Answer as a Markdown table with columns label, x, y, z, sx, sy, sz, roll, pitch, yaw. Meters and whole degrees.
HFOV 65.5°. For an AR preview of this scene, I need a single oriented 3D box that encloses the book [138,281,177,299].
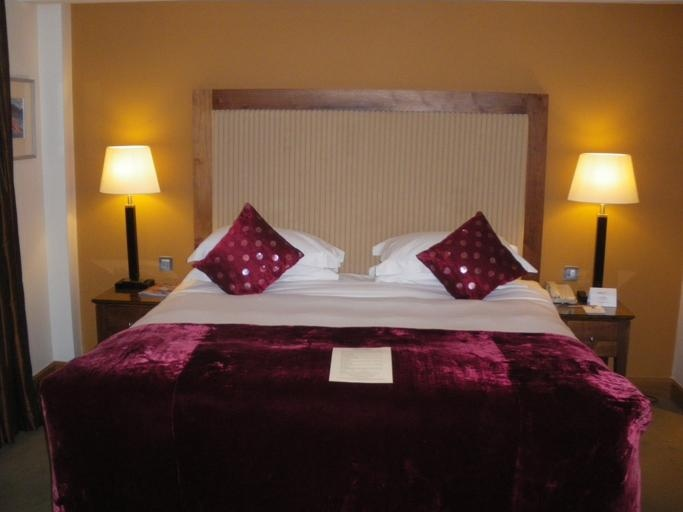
| label | x | y | z | sx | sy | sz | roll | pitch | yaw |
| --- | --- | --- | --- | --- | --- | --- | --- | --- | --- |
| book | -1.307 | 0.248 | 3.747 | 0.147 | 0.033 | 0.146 | 1 | 16 | 8 |

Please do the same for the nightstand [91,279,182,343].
| label | x | y | z | sx | sy | sz | roll | pitch | yaw |
| --- | --- | --- | --- | --- | --- | --- | --- | --- | --- |
| nightstand | -1.449 | 0.360 | 3.854 | 0.563 | 0.505 | 0.400 | 0 | 11 | -1 |
